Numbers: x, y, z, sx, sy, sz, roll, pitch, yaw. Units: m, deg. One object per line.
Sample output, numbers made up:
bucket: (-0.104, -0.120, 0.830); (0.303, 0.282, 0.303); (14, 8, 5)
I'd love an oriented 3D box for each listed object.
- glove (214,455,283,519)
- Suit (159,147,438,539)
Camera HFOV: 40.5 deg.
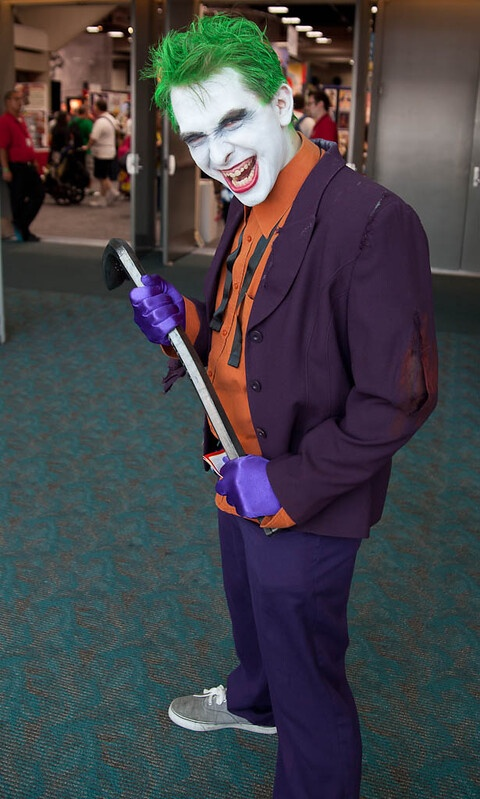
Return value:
glove: (0.008, 0.115, 0.840); (0.068, 0.086, 0.037); (-23, 0, 14)
Suit: (0.092, -0.064, 0.950); (0.249, 0.596, 0.451); (-1, 17, -10)
